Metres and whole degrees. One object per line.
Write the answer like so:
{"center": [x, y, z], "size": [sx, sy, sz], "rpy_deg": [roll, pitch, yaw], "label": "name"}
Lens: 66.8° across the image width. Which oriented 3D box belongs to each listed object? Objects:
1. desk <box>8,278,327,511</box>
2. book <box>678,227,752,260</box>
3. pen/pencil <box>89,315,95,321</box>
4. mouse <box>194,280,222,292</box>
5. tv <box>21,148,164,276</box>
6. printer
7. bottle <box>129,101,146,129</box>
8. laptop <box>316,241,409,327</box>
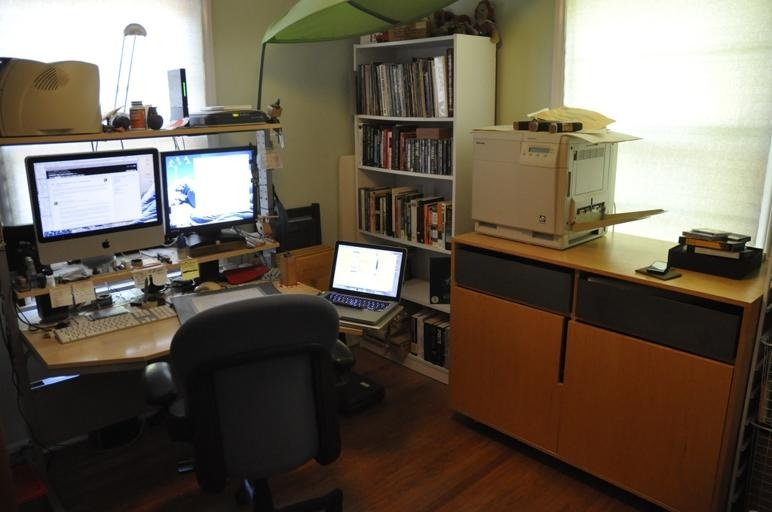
{"center": [-0.835, 0.487, 2.757], "size": [0.858, 1.321, 0.861], "rpy_deg": [-8, 29, -23], "label": "desk"}
{"center": [1.660, -0.065, 2.973], "size": [0.313, 0.112, 0.136], "rpy_deg": [6, 18, 26], "label": "book"}
{"center": [-1.617, 0.342, 3.222], "size": [0.032, 0.007, 0.022], "rpy_deg": [24, 32, 33], "label": "pen/pencil"}
{"center": [-1.066, 0.173, 3.505], "size": [0.123, 0.042, 0.073], "rpy_deg": [-7, 14, -37], "label": "mouse"}
{"center": [-1.629, -0.248, 3.211], "size": [0.670, 0.565, 0.139], "rpy_deg": [-12, 21, -38], "label": "tv"}
{"center": [1.078, -0.451, 3.407], "size": [0.717, 0.605, 0.928], "rpy_deg": [-12, 18, -44], "label": "printer"}
{"center": [-1.387, -0.784, 3.272], "size": [0.093, 0.147, 0.142], "rpy_deg": [-9, 18, -21], "label": "bottle"}
{"center": [-0.162, 0.185, 3.552], "size": [0.538, 0.315, 0.473], "rpy_deg": [12, 31, 22], "label": "laptop"}
